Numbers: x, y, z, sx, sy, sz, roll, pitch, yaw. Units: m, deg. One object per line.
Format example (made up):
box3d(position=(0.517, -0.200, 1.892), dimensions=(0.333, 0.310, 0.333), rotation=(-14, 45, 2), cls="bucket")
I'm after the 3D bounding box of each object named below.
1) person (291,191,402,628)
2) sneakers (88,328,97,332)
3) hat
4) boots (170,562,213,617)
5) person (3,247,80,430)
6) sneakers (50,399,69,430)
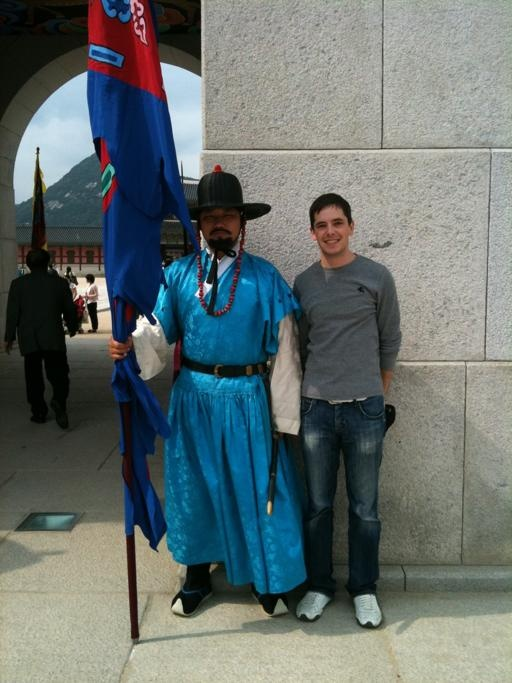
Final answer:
box3d(position=(0.378, 0.391, 3.330), dimensions=(0.449, 1.560, 0.532), rotation=(1, 14, 3), cls="person")
box3d(position=(-3.160, -0.244, 15.144), dimensions=(0.067, 0.071, 0.187), rotation=(-3, 11, -24), cls="sneakers")
box3d(position=(-0.129, -0.631, 3.368), dimensions=(0.232, 0.128, 0.300), rotation=(-3, 2, -2), cls="hat")
box3d(position=(-0.290, 1.065, 3.441), dimensions=(0.109, 0.212, 0.238), rotation=(0, 12, 28), cls="boots")
box3d(position=(-1.683, -0.022, 6.136), dimensions=(0.532, 1.413, 0.536), rotation=(1, 14, 2), cls="person")
box3d(position=(-1.511, 0.564, 6.061), dimensions=(0.109, 0.275, 0.114), rotation=(-17, -3, 3), cls="sneakers")
